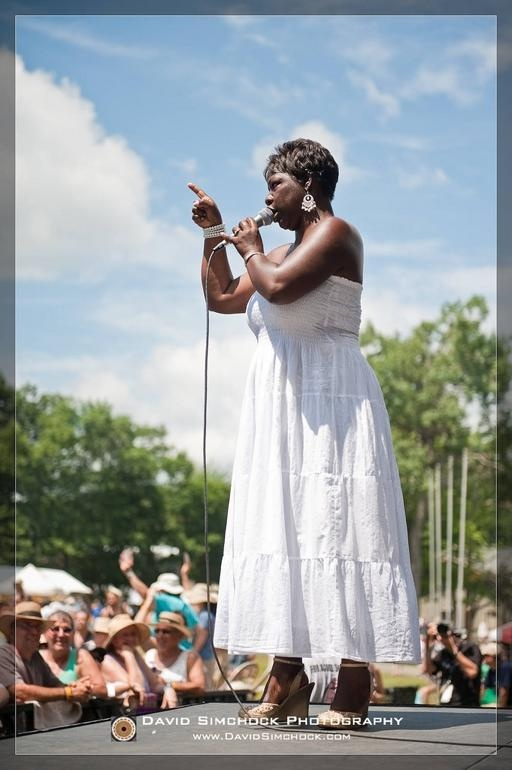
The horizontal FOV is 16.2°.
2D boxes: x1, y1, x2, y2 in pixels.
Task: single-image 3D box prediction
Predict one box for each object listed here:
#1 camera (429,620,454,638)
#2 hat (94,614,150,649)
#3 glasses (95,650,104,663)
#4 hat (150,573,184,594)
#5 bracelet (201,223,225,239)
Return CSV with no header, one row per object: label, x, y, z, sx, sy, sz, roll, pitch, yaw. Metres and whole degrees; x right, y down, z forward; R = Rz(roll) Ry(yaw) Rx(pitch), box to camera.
camera,1.271,1.692,12.477,0.132,0.059,0.133,3,0,7
hat,-0.906,1.676,12.220,0.288,0.085,0.292,-20,-34,-24
glasses,-1.011,1.732,11.545,0.057,0.072,0.062,1,5,29
hat,-0.648,1.504,13.295,0.179,0.054,0.171,24,1,-16
bracelet,-0.221,-0.781,9.268,0.121,0.098,0.148,-5,-2,-6
